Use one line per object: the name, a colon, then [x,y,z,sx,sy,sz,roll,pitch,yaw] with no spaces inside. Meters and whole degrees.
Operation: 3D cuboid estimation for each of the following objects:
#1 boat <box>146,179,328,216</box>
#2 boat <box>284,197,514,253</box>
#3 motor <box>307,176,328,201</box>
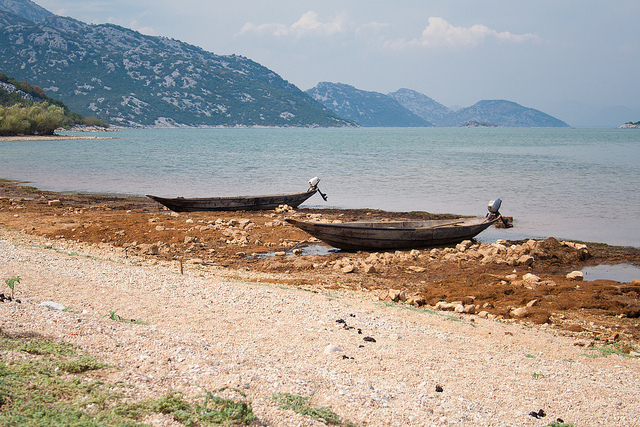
boat: [-4.892,-1.148,36.678,10.359,2.590,3.797,2,4,-36]
boat: [4.164,0.484,28.294,10.774,2.056,3.221,2,4,-32]
motor: [-0.210,-1.902,39.443,0.756,0.887,2.234,-32,-9,-7]
